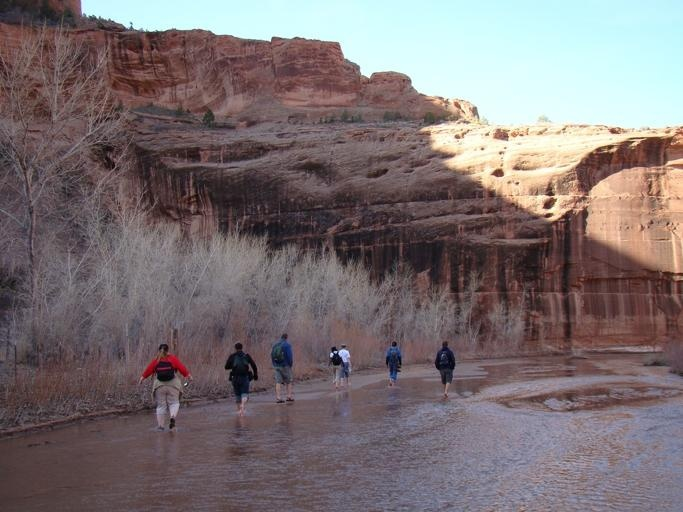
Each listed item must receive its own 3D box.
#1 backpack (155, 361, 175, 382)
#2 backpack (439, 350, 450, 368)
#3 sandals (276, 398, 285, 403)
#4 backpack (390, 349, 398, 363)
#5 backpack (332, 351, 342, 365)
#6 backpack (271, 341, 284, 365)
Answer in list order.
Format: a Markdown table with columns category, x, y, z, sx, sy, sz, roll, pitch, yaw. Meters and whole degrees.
| category | x | y | z | sx | sy | sz | roll | pitch | yaw |
| --- | --- | --- | --- | --- | --- | --- | --- | --- | --- |
| backpack | -5.009 | 3.255 | 26.376 | 0.449 | 0.544 | 0.280 | -5 | -9 | -5 |
| backpack | 3.365 | 3.380 | 30.446 | 0.375 | 0.562 | 0.515 | 1 | -6 | 3 |
| sandals | -1.942 | 4.690 | 30.181 | 0.325 | 0.135 | 0.117 | 1 | 0 | -38 |
| backpack | 1.852 | 3.467 | 32.510 | 0.200 | 0.365 | 0.329 | 3 | 6 | 6 |
| backpack | -0.182 | 3.639 | 33.138 | 0.431 | 0.561 | 0.281 | 1 | 5 | 5 |
| backpack | -2.064 | 3.157 | 29.905 | 0.488 | 0.803 | 0.178 | 5 | 12 | 24 |
